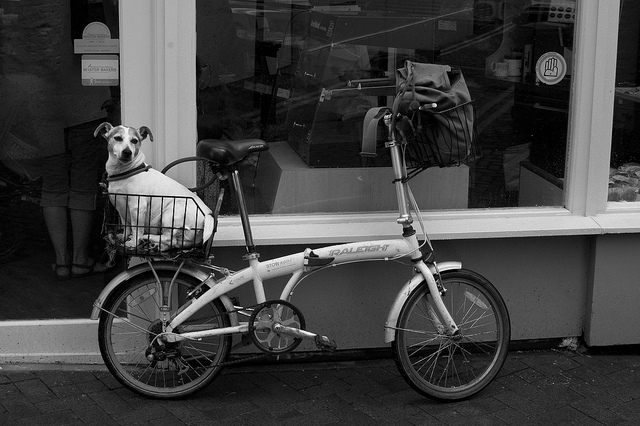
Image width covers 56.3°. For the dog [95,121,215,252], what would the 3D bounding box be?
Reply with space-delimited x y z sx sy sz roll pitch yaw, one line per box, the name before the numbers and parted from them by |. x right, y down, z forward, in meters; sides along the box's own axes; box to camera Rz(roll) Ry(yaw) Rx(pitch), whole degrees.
dog | -1.062 -0.105 4.121 0.944 0.846 0.613 4 -1 -9

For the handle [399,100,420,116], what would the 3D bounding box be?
handle | 0.569 -0.665 3.768 0.108 0.073 0.038 2 -7 18

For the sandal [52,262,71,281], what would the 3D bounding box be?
sandal | -1.936 0.436 4.472 0.105 0.132 0.054 0 -9 -9
